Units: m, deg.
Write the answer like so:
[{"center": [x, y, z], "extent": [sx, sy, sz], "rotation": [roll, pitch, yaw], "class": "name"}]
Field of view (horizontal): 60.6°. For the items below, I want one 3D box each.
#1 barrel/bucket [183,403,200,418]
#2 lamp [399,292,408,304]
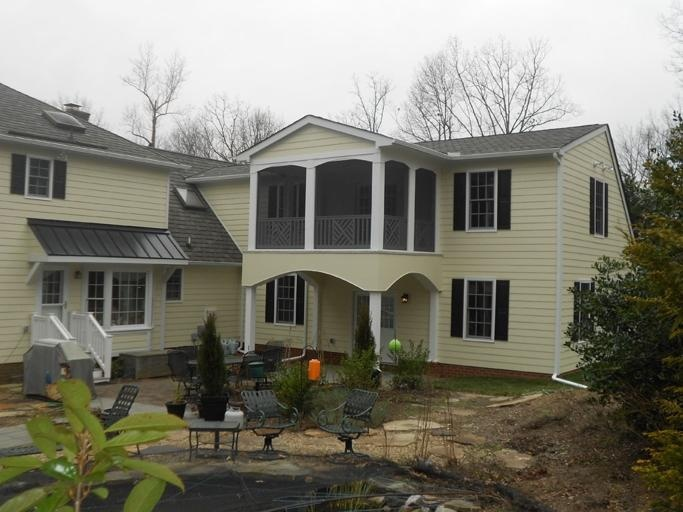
[{"center": [-3.299, 3.395, 12.886], "extent": [0.325, 0.240, 0.335], "rotation": [0, -9, 0], "class": "barrel/bucket"}, {"center": [2.040, 1.352, 18.926], "extent": [0.321, 0.347, 0.166], "rotation": [-3, -5, 20], "class": "lamp"}]
